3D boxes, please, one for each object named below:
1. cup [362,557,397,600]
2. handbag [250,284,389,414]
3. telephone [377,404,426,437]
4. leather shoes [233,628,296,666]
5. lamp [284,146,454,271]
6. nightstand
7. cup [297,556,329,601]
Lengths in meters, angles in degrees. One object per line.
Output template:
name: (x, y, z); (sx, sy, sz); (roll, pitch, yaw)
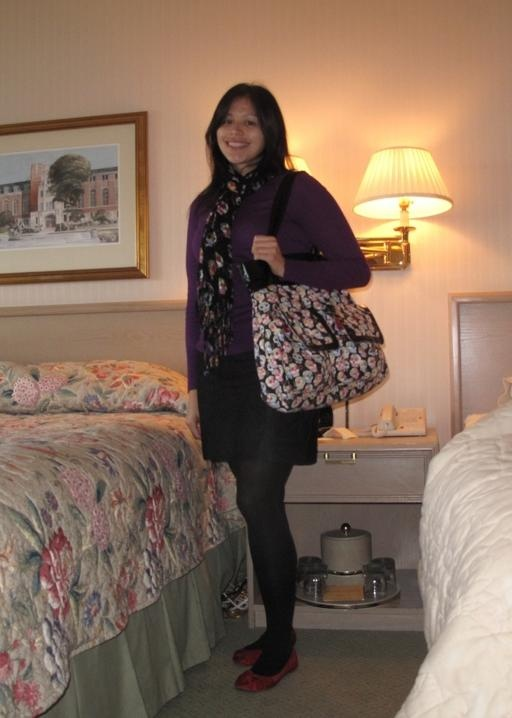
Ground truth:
cup: (0.389, 0.703, 1.988); (0.067, 0.101, 0.118); (1, -1, 6)
handbag: (0.150, -0.030, 1.327); (0.349, 0.275, 0.157); (3, -5, -44)
telephone: (0.501, 0.214, 2.119); (0.113, 0.045, 0.144); (0, 8, 10)
leather shoes: (0.037, 0.768, 1.735); (0.083, 0.087, 0.235); (-4, -7, 29)
lamp: (0.388, -0.523, 2.401); (0.450, 0.516, 0.579); (1, 0, -3)
nightstand: (0.370, 0.462, 2.162); (0.809, 0.700, 0.578); (-1, -6, 13)
cup: (0.183, 0.708, 2.030); (0.063, 0.090, 0.103); (2, 8, 2)
